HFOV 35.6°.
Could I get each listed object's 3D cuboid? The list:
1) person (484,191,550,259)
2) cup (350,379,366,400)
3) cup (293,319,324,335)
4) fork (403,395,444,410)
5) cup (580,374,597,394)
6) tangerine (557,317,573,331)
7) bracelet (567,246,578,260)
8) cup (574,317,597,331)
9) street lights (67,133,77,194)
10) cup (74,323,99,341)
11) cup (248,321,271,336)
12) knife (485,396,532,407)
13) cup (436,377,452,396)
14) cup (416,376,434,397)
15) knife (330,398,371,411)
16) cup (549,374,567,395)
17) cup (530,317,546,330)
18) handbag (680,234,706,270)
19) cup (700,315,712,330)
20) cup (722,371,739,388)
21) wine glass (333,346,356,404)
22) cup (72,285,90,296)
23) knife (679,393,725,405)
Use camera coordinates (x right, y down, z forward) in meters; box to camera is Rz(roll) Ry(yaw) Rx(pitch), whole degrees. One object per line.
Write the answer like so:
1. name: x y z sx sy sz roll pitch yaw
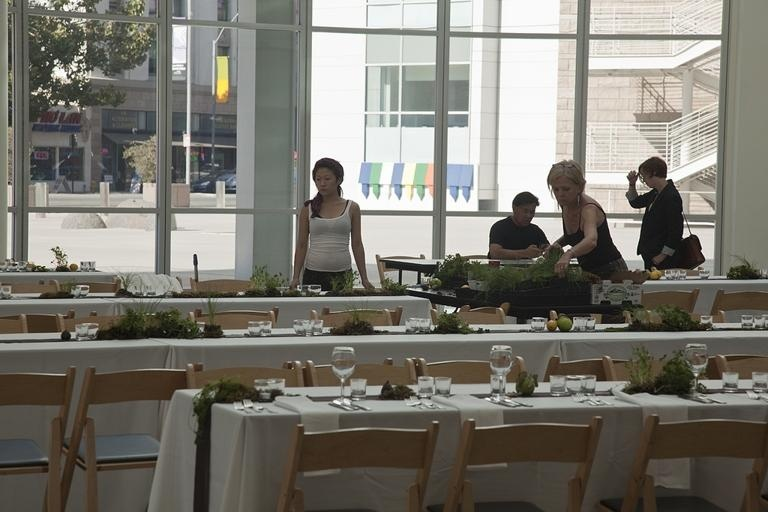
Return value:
1. person: 1.477 -0.252 12.920 0.718 0.894 0.706 7 1 13
2. cup: -0.185 0.971 8.571 0.118 0.136 0.120 0 0 0
3. cup: -0.663 0.627 10.275 0.175 0.089 0.136 2 2 9
4. fork: 0.265 1.061 8.476 0.091 0.054 0.335 -15 18 -35
5. cup: 1.495 0.945 8.720 0.110 0.158 0.123 -1 -3 37
6. tangerine: 1.578 0.611 10.502 0.112 0.130 0.122 0 2 -5
7. bracelet: 1.739 -0.012 11.107 0.127 0.051 0.096 -35 9 45
8. cup: 1.760 0.613 10.639 0.105 0.119 0.159 1 2 -15
9. street lights: -4.146 -1.233 15.849 0.134 0.726 0.041 0 3 -12
10. cup: -2.463 0.635 9.857 0.156 0.123 0.122 4 -5 -40
11. cup: -1.060 0.631 10.159 0.167 0.120 0.105 1 -3 -11
12. knife: 0.870 1.062 8.601 0.111 0.023 0.385 -2 2 -26
13. cup: 0.430 0.958 8.701 0.107 0.154 0.120 1 0 -2
14. cup: 0.289 0.947 8.583 0.119 0.158 0.123 -1 1 0
15. knife: -0.255 1.064 8.407 0.099 0.016 0.332 -4 9 -32
16. cup: 1.275 0.968 8.861 0.123 0.107 0.116 -1 1 0
17. cup: 1.356 0.616 10.584 0.103 0.095 0.108 1 -4 0
18. handbag: 3.514 -0.024 13.731 0.162 0.467 0.450 -4 3 -22
19. cup: 2.873 0.615 10.729 0.084 0.166 0.090 -1 7 0
20. cup: 2.575 0.934 8.917 0.105 0.113 0.099 1 1 0
21. wine glass: -0.299 0.853 8.588 0.145 0.376 0.364 1 3 -2
22. cup: -2.913 0.352 11.477 0.106 0.078 0.120 1 -4 -10
23. knife: 2.302 1.052 8.665 0.101 0.017 0.281 1 4 -26
